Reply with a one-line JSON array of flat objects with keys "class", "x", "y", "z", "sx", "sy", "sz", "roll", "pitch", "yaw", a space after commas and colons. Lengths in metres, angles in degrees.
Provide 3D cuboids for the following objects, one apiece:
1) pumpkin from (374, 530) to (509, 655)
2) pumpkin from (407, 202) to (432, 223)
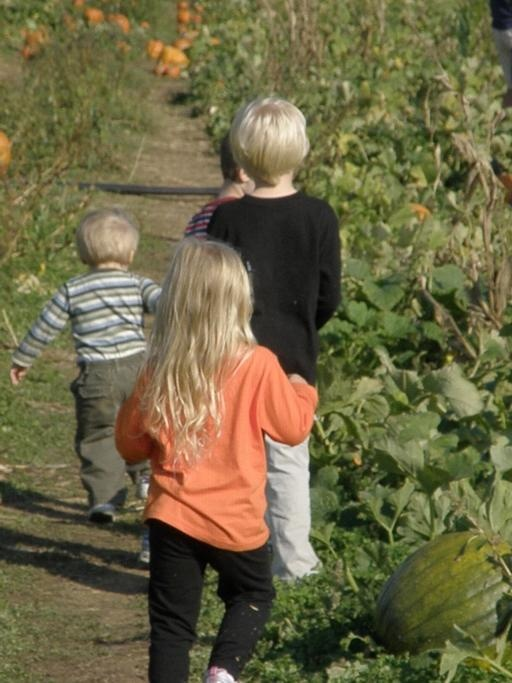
[{"class": "pumpkin", "x": 0.729, "y": 0.993, "z": 5.710, "sx": 0.500, "sy": 0.299, "sz": 0.381, "roll": -36, "pitch": 53, "yaw": -15}, {"class": "pumpkin", "x": 0.784, "y": -0.617, "z": 7.014, "sx": 0.099, "sy": 0.085, "sz": 0.276, "roll": 9, "pitch": 6, "yaw": 5}]
